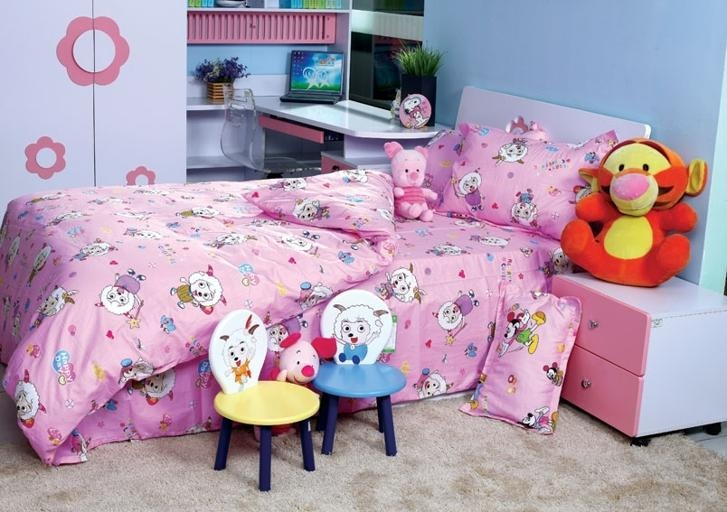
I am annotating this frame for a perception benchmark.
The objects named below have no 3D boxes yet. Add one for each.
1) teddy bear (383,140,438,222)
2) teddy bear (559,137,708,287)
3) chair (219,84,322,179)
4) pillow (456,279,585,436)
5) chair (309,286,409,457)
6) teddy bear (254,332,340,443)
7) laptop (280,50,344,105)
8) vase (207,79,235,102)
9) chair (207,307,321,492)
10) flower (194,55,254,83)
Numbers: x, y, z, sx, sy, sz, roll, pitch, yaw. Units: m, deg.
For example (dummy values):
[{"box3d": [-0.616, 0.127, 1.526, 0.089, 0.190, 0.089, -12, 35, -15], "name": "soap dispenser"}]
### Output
[{"box3d": [0.270, -0.418, 3.104, 0.283, 0.428, 0.274, -7, 17, -29], "name": "teddy bear"}, {"box3d": [1.191, -0.203, 2.491, 0.543, 0.629, 0.398, 8, 11, 42], "name": "teddy bear"}, {"box3d": [-0.798, -0.941, 4.740, 0.784, 0.828, 0.912, -3, 10, -22], "name": "chair"}, {"box3d": [0.702, 0.457, 2.417, 0.449, 0.612, 0.149, 10, -11, 35], "name": "pillow"}, {"box3d": [-0.015, 0.460, 2.195, 0.336, 0.529, 0.361, 5, 11, 13], "name": "chair"}, {"box3d": [-0.262, 0.517, 2.238, 0.233, 0.449, 0.223, 7, 7, -30], "name": "teddy bear"}, {"box3d": [-0.413, -1.719, 5.311, 0.579, 0.394, 0.513, 3, 12, 1], "name": "laptop"}, {"box3d": [-1.244, -1.441, 4.935, 0.182, 0.151, 0.208, 3, 10, 17], "name": "vase"}, {"box3d": [-0.343, 0.496, 1.998, 0.372, 0.562, 0.372, 7, 9, 37], "name": "chair"}, {"box3d": [-1.249, -1.638, 4.951, 0.321, 0.177, 0.321, 2, 15, 11], "name": "flower"}]
